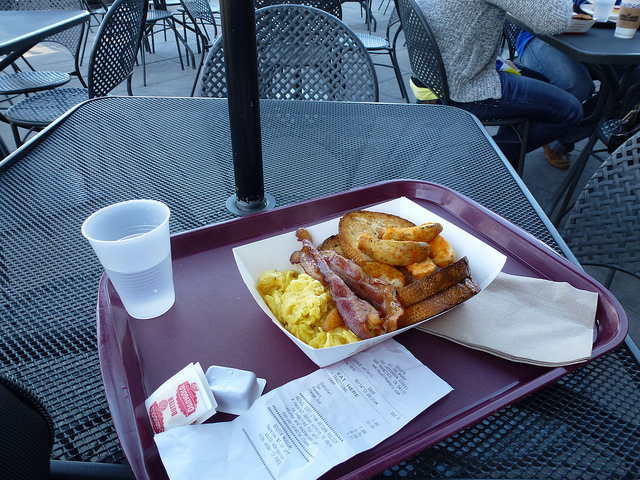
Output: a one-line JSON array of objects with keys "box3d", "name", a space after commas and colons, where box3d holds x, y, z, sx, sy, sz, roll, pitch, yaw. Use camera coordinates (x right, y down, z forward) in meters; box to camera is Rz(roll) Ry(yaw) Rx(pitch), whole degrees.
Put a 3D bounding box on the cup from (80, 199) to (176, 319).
[{"box3d": [-0.268, 0.016, 0.811, 0.174, 0.198, 0.172, 2, 35, -1], "name": "cup"}]
